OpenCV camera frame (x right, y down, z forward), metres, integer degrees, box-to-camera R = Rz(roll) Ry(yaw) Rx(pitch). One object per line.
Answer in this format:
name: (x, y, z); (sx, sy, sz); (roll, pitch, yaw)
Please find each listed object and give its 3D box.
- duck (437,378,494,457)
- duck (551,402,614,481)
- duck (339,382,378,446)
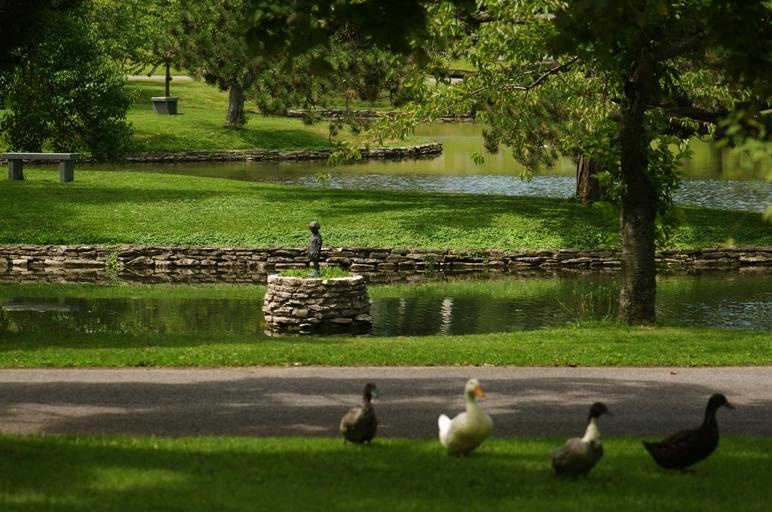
duck: (2.048, 4.078, 44.413); (1.307, 2.036, 0.930); (4, 6, 42)
duck: (4.757, 4.598, 43.534); (1.359, 1.872, 0.361); (0, 5, 4)
duck: (-0.673, 3.987, 45.168); (0.968, 1.602, 1.259); (0, 4, -1)
